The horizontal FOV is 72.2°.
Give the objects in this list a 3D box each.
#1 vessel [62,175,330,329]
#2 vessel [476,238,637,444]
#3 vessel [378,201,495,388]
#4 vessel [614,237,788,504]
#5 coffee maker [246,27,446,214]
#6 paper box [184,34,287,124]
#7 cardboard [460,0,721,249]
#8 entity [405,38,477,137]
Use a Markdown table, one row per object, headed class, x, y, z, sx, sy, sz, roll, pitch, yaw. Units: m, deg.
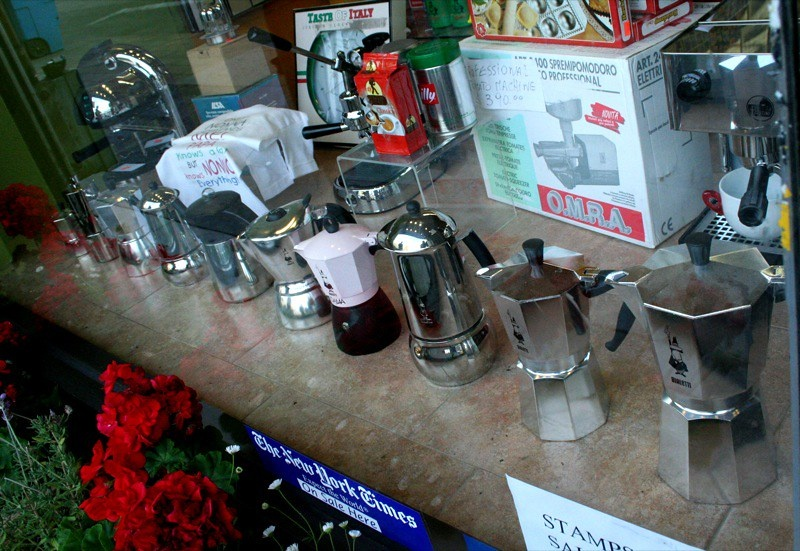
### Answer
| class | x | y | z | sx | sy | sz | roll | pitch | yaw |
| --- | --- | --- | --- | --- | --- | --- | --- | --- | --- |
| vessel | -0.547 | -0.101 | 1.648 | 0.743 | 0.374 | 0.218 | 10 | 43 | 31 |
| vessel | 0.268 | 0.108 | 0.952 | 0.215 | 0.365 | 0.161 | -11 | 30 | 7 |
| vessel | 0.099 | 0.035 | 1.150 | 0.206 | 0.385 | 0.176 | -10 | 30 | 8 |
| vessel | 0.453 | 0.132 | 0.811 | 0.180 | 0.400 | 0.202 | -17 | 30 | -4 |
| coffee maker | -0.120 | -0.425 | 1.473 | 0.390 | 0.452 | 0.207 | -25 | 28 | -20 |
| paper box | -0.567 | -0.655 | 1.837 | 0.247 | 0.310 | 0.217 | -32 | 29 | -7 |
| cardboard | 0.409 | -0.320 | 1.156 | 0.313 | 0.376 | 0.559 | -29 | 33 | -30 |
| entity | 0.122 | -0.509 | 1.506 | 0.145 | 0.218 | 0.138 | -14 | 30 | 9 |
